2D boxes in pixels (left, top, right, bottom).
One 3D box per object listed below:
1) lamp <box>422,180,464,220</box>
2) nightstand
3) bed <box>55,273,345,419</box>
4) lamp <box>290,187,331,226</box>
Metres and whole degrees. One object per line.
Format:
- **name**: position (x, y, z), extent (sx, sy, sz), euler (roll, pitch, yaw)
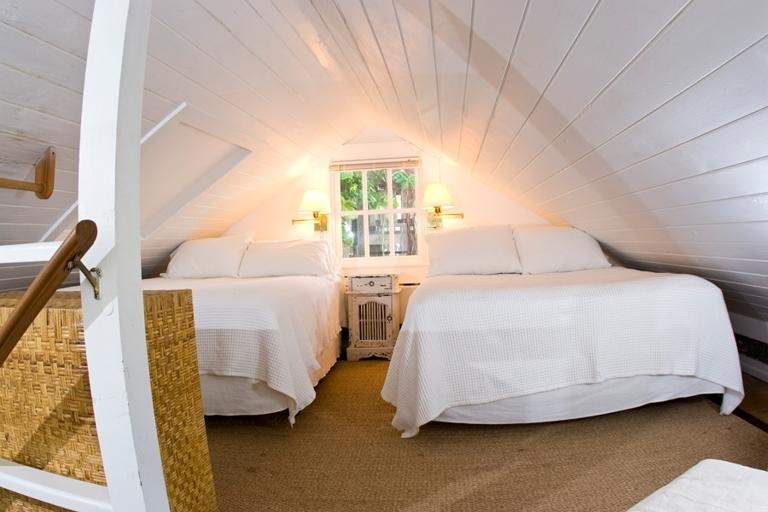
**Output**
- **lamp**: position (0.520, -0.447, 4.389), extent (0.333, 0.426, 0.433), euler (-4, -3, -7)
- **nightstand**: position (-0.096, 0.548, 4.274), extent (0.484, 0.774, 0.418), euler (0, 11, 3)
- **bed**: position (-0.873, 0.392, 2.708), extent (1.088, 0.430, 1.099), euler (-3, 7, -7)
- **lamp**: position (-0.712, -0.469, 4.525), extent (0.319, 0.364, 0.389), euler (1, -6, -23)
